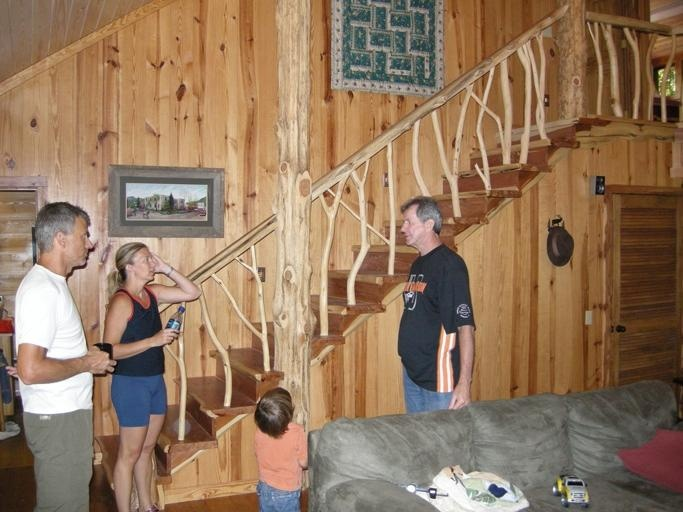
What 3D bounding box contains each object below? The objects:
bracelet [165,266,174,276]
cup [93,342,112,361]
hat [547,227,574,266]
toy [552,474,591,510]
[{"bbox_3d":[-1.225,0.110,4.702,0.018,0.051,0.046,18,-11,-40],"label":"bracelet"},{"bbox_3d":[-1.395,0.562,3.886,0.084,0.097,0.123,0,0,3],"label":"cup"},{"bbox_3d":[2.037,-0.094,6.157,0.230,0.367,0.074,0,1,-2],"label":"hat"},{"bbox_3d":[1.393,1.420,3.967,0.134,0.110,0.214,0,-6,1],"label":"toy"}]
